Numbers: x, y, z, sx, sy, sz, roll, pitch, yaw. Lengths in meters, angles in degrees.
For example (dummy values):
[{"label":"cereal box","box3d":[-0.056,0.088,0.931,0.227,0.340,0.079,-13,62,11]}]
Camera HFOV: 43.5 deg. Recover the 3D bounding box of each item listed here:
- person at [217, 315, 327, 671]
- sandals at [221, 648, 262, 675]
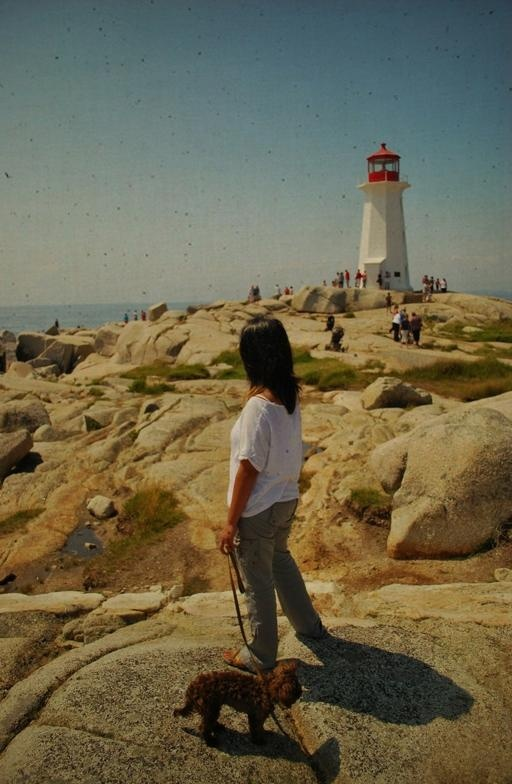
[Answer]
[{"label":"person","box3d":[0.018,0.639,3.677,0.382,2.042,0.711,1,15,30]},{"label":"sandals","box3d":[-0.085,1.574,3.763,0.107,0.120,0.288,-13,8,-43]}]
